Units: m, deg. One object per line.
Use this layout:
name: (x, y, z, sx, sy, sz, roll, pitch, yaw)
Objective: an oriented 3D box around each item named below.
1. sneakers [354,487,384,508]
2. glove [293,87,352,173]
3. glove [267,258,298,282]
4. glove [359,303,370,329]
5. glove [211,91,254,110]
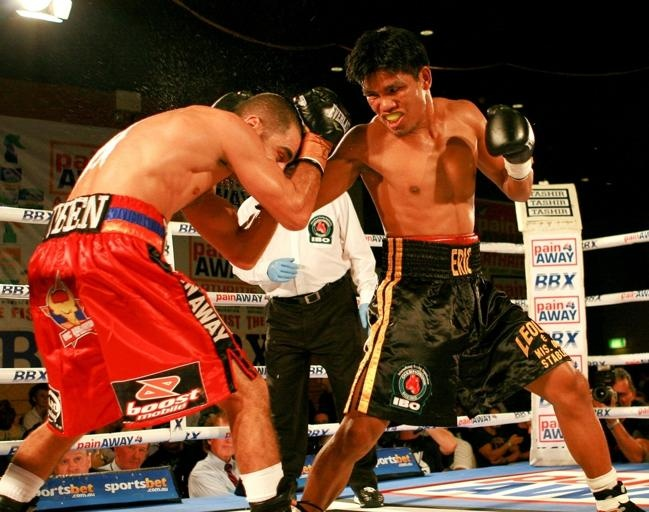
sneakers: (0.196, 1.054, 2.620, 0.118, 0.051, 0.074, -14, -15, 36)
glove: (-0.056, -0.454, 2.091, 0.257, 0.191, 0.098, -51, 17, -30)
glove: (-0.197, 0.068, 2.821, 0.064, 0.064, 0.109, 23, -19, -38)
glove: (0.210, 0.309, 3.176, 0.044, 0.112, 0.089, 6, -11, -16)
glove: (-0.306, -0.533, 2.073, 0.111, 0.038, 0.134, 17, 51, 37)
